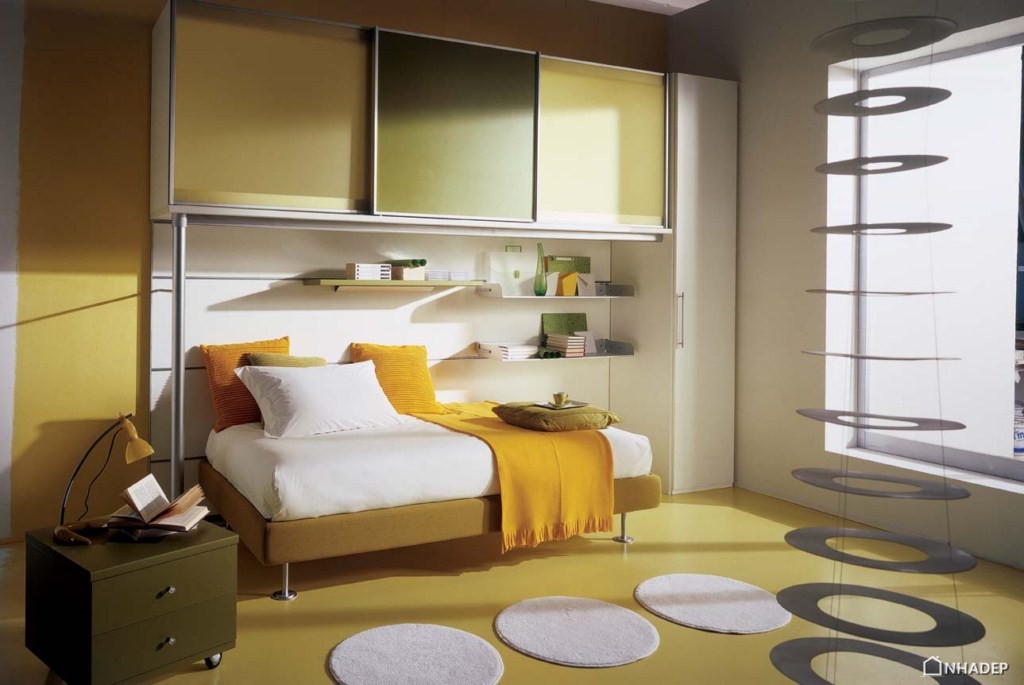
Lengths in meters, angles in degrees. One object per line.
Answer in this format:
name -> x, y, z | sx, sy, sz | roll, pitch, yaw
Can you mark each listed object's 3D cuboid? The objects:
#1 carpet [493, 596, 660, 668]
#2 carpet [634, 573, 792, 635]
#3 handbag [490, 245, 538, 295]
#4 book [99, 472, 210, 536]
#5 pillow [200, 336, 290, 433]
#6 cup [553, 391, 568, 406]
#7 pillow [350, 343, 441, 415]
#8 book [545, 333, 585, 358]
carpet -> 0.328, 1.452, 4.029 | 0.837, 0.036, 0.591 | 2, 12, 7
carpet -> 1.085, 1.396, 4.300 | 0.827, 0.025, 0.598 | 4, 12, 16
handbag -> -0.002, -0.529, 5.955 | 0.468, 0.329, 0.136 | 1, -4, -24
book -> -1.634, 0.764, 3.755 | 0.358, 0.134, 0.329 | 4, 2, 19
pillow -> -1.690, 0.276, 4.984 | 0.693, 0.569, 0.235 | -8, 4, -31
cup -> 0.306, 0.352, 5.028 | 0.068, 0.062, 0.102 | -5, -6, 43
pillow -> -0.810, 0.246, 5.317 | 0.538, 0.435, 0.182 | 1, -27, -32
book -> 0.428, 0.014, 6.090 | 0.181, 0.121, 0.293 | -2, 5, -33
